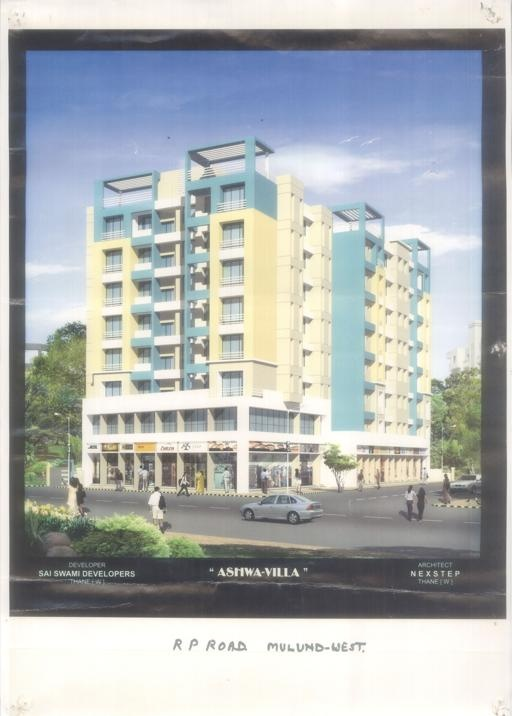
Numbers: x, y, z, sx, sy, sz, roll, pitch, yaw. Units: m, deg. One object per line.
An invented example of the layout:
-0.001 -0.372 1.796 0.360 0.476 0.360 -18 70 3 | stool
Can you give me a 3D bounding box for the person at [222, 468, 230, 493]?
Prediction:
-0.962 4.093 51.312 0.293 0.768 0.209 0 -4 12 | person
